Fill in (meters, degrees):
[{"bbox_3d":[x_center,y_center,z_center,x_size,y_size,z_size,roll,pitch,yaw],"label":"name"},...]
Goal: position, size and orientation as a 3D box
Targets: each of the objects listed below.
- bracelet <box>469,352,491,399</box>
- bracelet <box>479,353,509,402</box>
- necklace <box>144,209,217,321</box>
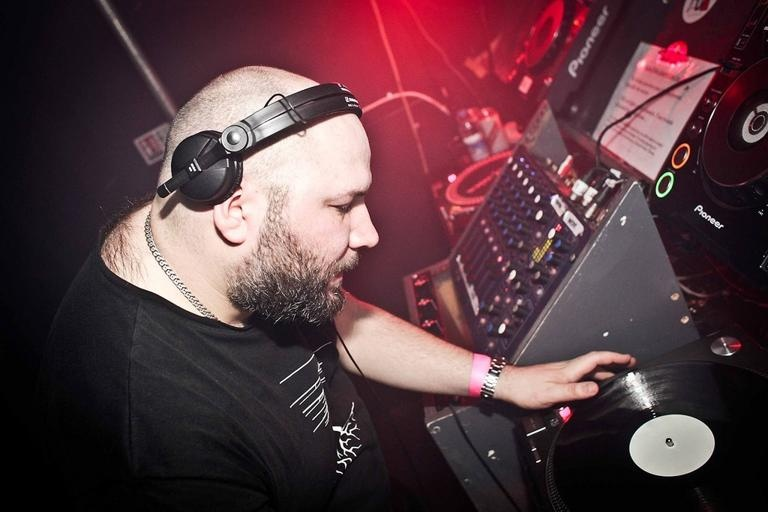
[{"bbox_3d":[0.387,0.480,2.298,0.098,0.161,0.150,10,39,10],"label":"bracelet"},{"bbox_3d":[0.432,0.480,2.276,0.096,0.164,0.151,15,-21,26],"label":"bracelet"},{"bbox_3d":[-0.747,0.056,2.102,0.018,0.373,0.297,-25,-2,10],"label":"necklace"}]
